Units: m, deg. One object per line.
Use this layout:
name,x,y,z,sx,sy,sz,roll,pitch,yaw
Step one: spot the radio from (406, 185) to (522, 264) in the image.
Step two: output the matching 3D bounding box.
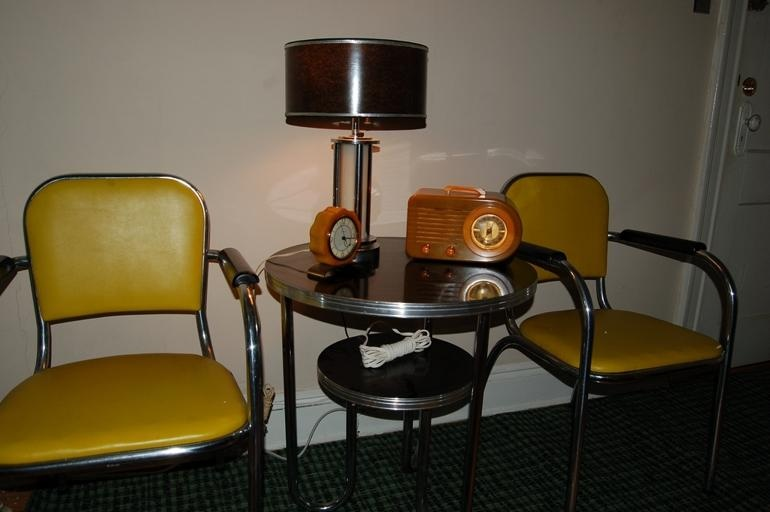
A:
radio,0.257,-0.095,2.013,0.418,0.316,0.226,1,9,6

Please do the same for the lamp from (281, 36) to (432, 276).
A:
lamp,-0.078,-0.361,2.067,0.499,0.750,0.483,-5,15,-10

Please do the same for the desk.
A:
desk,0.067,0.289,2.254,0.935,1.033,0.958,1,11,2

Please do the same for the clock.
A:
clock,-0.137,-0.063,2.045,0.190,0.243,0.338,8,19,38

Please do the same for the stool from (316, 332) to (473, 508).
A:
stool,0.031,0.544,2.218,0.532,0.527,0.591,1,12,1
